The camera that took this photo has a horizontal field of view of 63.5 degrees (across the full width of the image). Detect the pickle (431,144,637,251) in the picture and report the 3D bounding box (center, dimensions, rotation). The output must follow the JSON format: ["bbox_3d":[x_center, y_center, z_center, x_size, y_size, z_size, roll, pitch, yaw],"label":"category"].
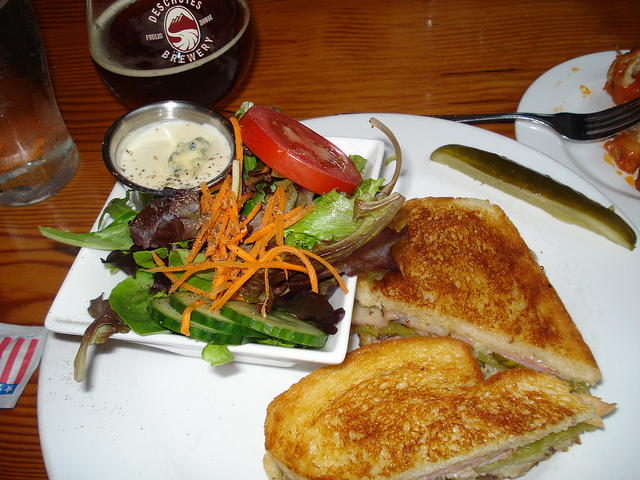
[{"bbox_3d":[1.024,-0.194,2.560,0.945,0.186,0.180,26,110,18],"label":"pickle"}]

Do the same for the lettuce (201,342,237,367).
[{"bbox_3d":[-0.395,0.441,2.014,0.119,0.051,0.081,5,74,1],"label":"lettuce"}]

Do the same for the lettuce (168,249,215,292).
[{"bbox_3d":[-0.521,0.121,2.189,0.199,0.055,0.161,2,87,-1],"label":"lettuce"}]

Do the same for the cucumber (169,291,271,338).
[{"bbox_3d":[-0.388,0.291,2.022,0.309,0.290,0.111,12,106,41],"label":"cucumber"}]

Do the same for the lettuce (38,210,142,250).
[{"bbox_3d":[-1.016,-0.022,2.245,0.287,0.385,0.121,-10,87,39],"label":"lettuce"}]

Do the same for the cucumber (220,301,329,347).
[{"bbox_3d":[-0.173,0.330,2.062,0.427,0.133,0.108,16,75,4],"label":"cucumber"}]

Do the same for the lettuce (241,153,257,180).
[{"bbox_3d":[-0.320,-0.333,2.357,0.076,0.023,0.106,11,80,7],"label":"lettuce"}]

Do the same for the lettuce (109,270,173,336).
[{"bbox_3d":[-0.751,0.271,2.113,0.281,0.060,0.260,-19,66,-36],"label":"lettuce"}]

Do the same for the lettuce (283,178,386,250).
[{"bbox_3d":[0.038,-0.076,2.173,0.497,0.104,0.211,-33,86,5],"label":"lettuce"}]

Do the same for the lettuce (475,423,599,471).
[{"bbox_3d":[0.886,0.848,2.120,0.495,0.132,0.060,-23,76,-7],"label":"lettuce"}]

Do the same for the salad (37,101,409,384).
[{"bbox_3d":[-0.274,0.039,2.361,1.359,0.504,1.296,10,73,8],"label":"salad"}]

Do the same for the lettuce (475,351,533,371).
[{"bbox_3d":[0.831,0.565,2.410,0.137,0.046,0.127,-9,42,-13],"label":"lettuce"}]
